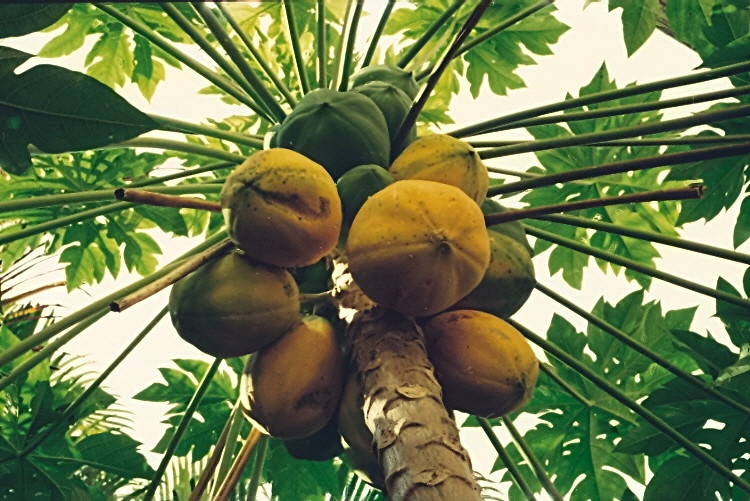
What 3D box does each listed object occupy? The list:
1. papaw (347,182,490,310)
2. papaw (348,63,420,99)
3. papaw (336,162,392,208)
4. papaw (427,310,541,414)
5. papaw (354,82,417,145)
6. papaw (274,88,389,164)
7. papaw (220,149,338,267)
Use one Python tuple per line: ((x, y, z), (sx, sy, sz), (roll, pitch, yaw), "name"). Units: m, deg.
((0.223, -0.039, 3.295), (0.672, 0.673, 0.594), (-6, -76, 44), "papaw")
((0.077, -1.062, 4.059), (0.273, 0.307, 0.180), (-1, -85, -13), "papaw")
((-0.040, -0.381, 3.540), (0.266, 0.311, 0.188), (-7, -100, -14), "papaw")
((0.559, 0.572, 3.377), (0.494, 0.292, 0.565), (-16, -63, 10), "papaw")
((0.079, -0.842, 3.942), (0.320, 0.407, 0.300), (15, -96, -1), "papaw")
((-0.181, -0.657, 3.635), (0.607, 0.334, 0.407), (21, -63, -10), "papaw")
((-0.448, -0.200, 3.289), (0.524, 0.283, 0.579), (-38, -68, 20), "papaw")
